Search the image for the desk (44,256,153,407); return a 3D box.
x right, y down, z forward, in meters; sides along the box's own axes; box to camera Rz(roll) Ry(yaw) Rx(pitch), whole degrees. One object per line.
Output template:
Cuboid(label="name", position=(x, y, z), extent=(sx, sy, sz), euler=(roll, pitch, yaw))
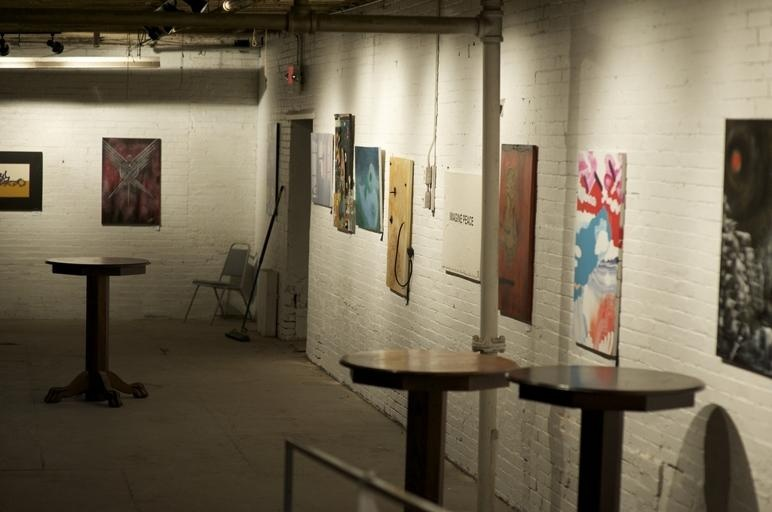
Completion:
Cuboid(label="desk", position=(-3.500, 0.865, 8.067), extent=(1.627, 1.900, 1.632), euler=(0, 2, -40))

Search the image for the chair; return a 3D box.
Cuboid(label="chair", position=(-3.148, 0.442, 11.788), extent=(1.058, 1.651, 1.029), euler=(2, 1, 33))
